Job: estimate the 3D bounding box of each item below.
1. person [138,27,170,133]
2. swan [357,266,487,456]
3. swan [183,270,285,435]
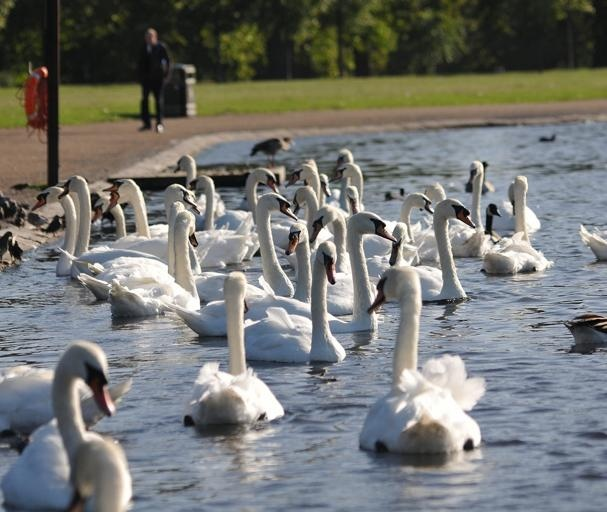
[{"bbox_3d":[-3.673,-4.306,27.662,0.742,2.565,0.689,-1,-3,5],"label":"person"},{"bbox_3d":[0.827,0.796,7.961,1.028,1.237,1.203,1,8,6],"label":"swan"},{"bbox_3d":[-0.535,0.768,8.511,0.786,1.111,0.963,-1,11,-2],"label":"swan"}]
